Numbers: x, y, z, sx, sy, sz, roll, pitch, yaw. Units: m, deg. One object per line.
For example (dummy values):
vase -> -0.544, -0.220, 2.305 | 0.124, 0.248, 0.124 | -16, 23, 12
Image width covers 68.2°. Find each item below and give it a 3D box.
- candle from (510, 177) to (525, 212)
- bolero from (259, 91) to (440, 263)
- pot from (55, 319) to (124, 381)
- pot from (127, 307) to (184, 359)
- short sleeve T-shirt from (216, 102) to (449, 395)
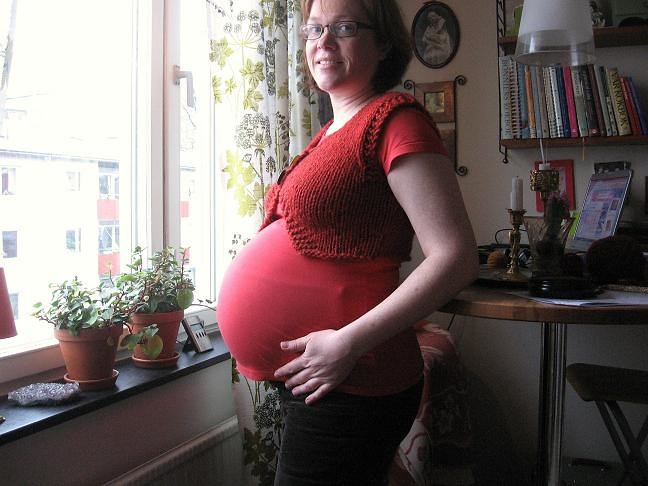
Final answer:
candle -> 0.692, -0.171, 1.706 | 0.036, 0.112, 0.081 | 1, 7, 27
bolero -> 0.050, -0.117, 1.143 | 0.329, 0.398, 0.473 | 13, -4, -21
pot -> -0.774, 0.352, 1.570 | 0.203, 0.164, 0.210 | 0, -1, 0
pot -> -0.638, 0.320, 1.739 | 0.220, 0.171, 0.216 | 6, -3, 0
short sleeve T-shirt -> 0.030, 0.020, 1.384 | 0.557, 0.866, 0.621 | 7, -2, -10
